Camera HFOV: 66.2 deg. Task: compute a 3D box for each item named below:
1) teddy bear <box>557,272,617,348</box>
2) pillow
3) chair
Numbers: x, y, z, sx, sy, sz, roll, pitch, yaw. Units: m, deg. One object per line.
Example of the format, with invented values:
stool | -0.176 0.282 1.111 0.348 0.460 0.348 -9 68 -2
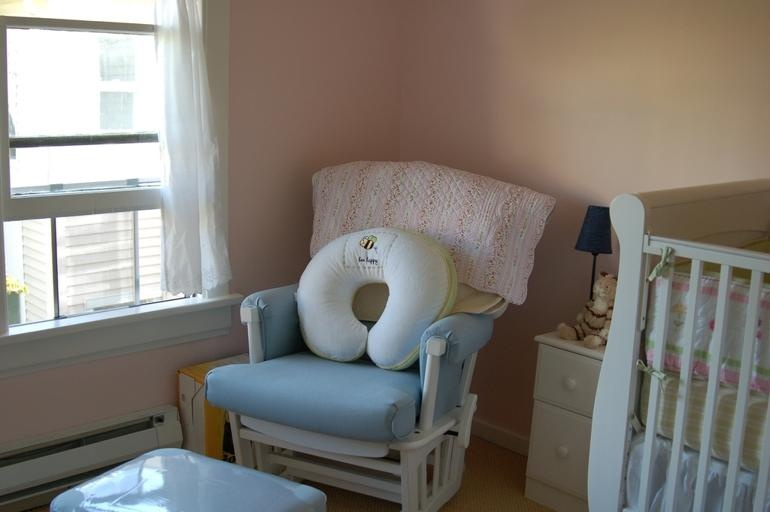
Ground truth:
teddy bear | 0.934 0.233 2.705 0.230 0.333 0.224 12 14 37
pillow | -0.047 0.163 2.706 0.605 0.674 0.236 13 -2 34
chair | -0.141 0.283 3.123 1.537 1.810 1.593 6 11 27
